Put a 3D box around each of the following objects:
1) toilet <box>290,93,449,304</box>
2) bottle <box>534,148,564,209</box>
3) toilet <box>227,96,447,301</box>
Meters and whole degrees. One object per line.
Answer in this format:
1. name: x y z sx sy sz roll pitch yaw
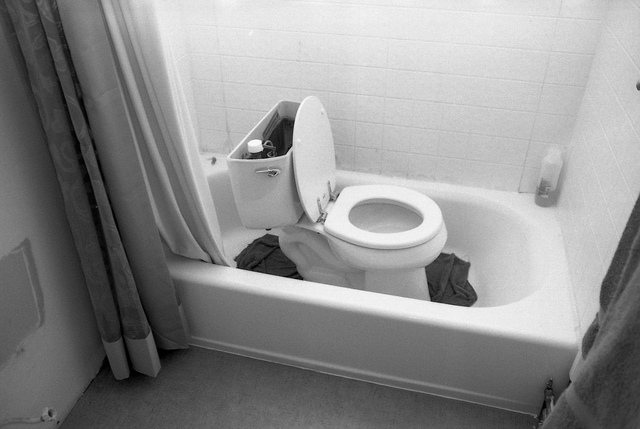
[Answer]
1. toilet: 0.245 0.028 2.253 0.729 1.057 0.512 8 36 17
2. bottle: 1.182 -0.185 2.310 0.106 0.279 0.133 17 38 25
3. toilet: 0.153 0.017 2.234 0.942 0.982 0.585 11 33 23
